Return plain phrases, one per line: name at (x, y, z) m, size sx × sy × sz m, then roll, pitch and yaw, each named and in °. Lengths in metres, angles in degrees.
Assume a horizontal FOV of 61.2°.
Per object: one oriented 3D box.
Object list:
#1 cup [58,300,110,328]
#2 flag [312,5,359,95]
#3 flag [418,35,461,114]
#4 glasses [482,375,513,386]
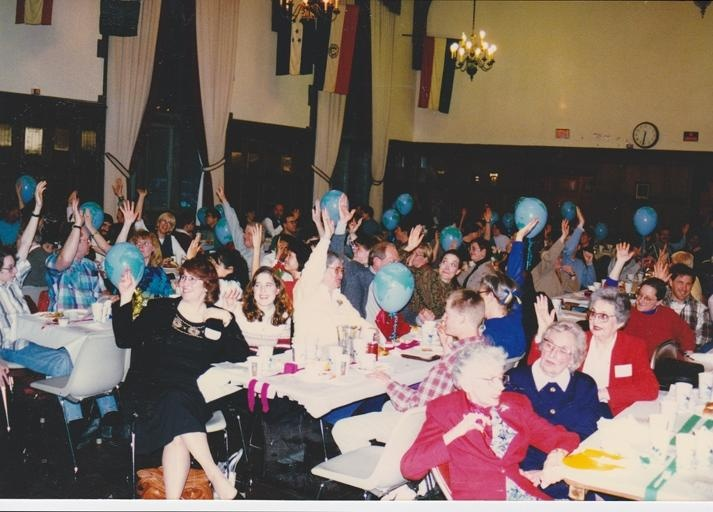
cup at (-2.543, 0.486, 5.642) m, size 0.362 × 0.126 × 0.274 m, roll -2°, pitch 4°, yaw -38°
flag at (-0.419, -4.295, 11.978) m, size 0.782 × 1.791 × 0.827 m, roll 3°, pitch 4°, yaw -4°
flag at (1.867, -4.345, 14.173) m, size 0.809 × 1.804 × 0.024 m, roll 10°, pitch 43°, yaw 10°
glasses at (0.862, 0.765, 3.737) m, size 0.140 × 0.045 × 0.143 m, roll 2°, pitch -10°, yaw -28°
